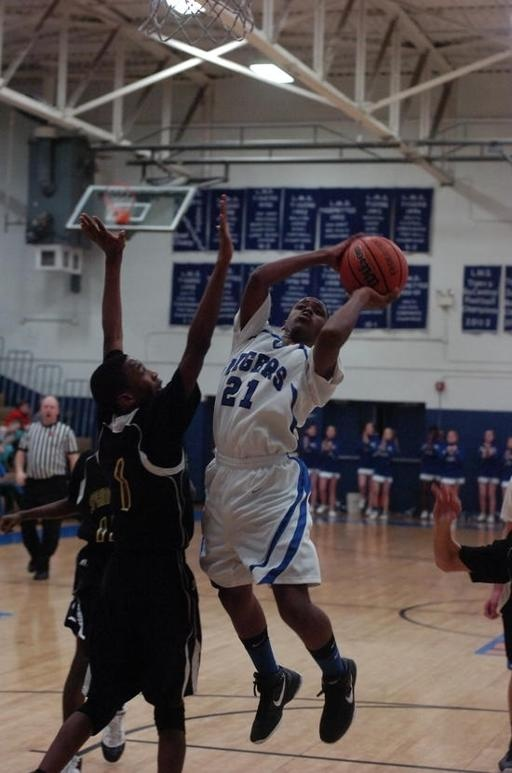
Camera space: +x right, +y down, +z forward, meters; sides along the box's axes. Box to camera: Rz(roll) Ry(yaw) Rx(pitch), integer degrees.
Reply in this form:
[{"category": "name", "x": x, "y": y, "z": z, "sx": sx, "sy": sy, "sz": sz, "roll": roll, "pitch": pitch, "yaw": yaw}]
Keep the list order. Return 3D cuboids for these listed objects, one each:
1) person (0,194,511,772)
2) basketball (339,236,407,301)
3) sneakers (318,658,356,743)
[{"category": "person", "x": -0.048, "y": 0.268, "z": 2.422, "sx": 1.026, "sy": 1.625, "sz": 0.808, "roll": 1, "pitch": -3, "yaw": -13}, {"category": "basketball", "x": 0.358, "y": -0.348, "z": 2.583, "sx": 0.196, "sy": 0.206, "sz": 0.185, "roll": -11, "pitch": 8, "yaw": -7}, {"category": "sneakers", "x": 0.221, "y": 0.855, "z": 2.437, "sx": 0.088, "sy": 0.245, "sz": 0.114, "roll": -1, "pitch": -15, "yaw": 39}]
